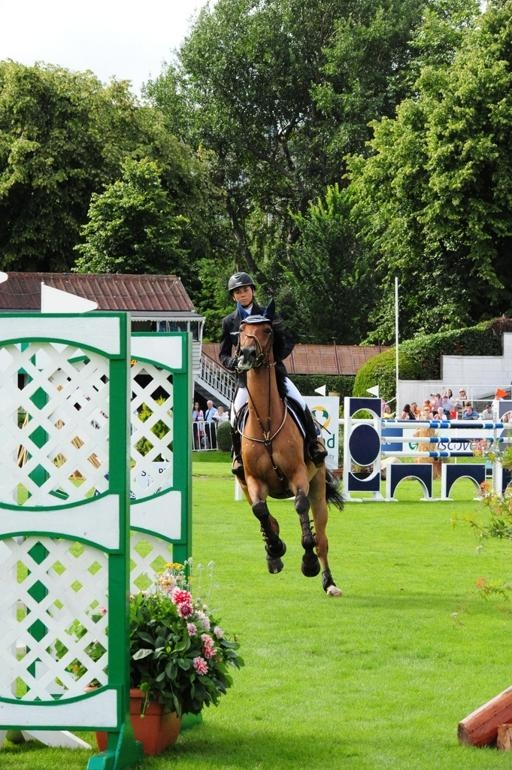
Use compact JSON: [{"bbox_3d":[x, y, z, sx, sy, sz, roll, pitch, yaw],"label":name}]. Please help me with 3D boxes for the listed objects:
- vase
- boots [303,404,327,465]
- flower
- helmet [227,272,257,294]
[{"bbox_3d":[-0.564,1.613,5.829,0.461,0.338,0.380,0,4,11],"label":"vase"},{"bbox_3d":[0.458,0.400,9.687,0.136,0.519,0.159,-9,-46,3],"label":"boots"},{"bbox_3d":[-0.514,1.267,5.991,0.785,0.587,0.796,-1,-2,13],"label":"flower"},{"bbox_3d":[-0.119,-0.827,9.645,0.138,0.149,0.190,-2,-20,-1],"label":"helmet"}]
